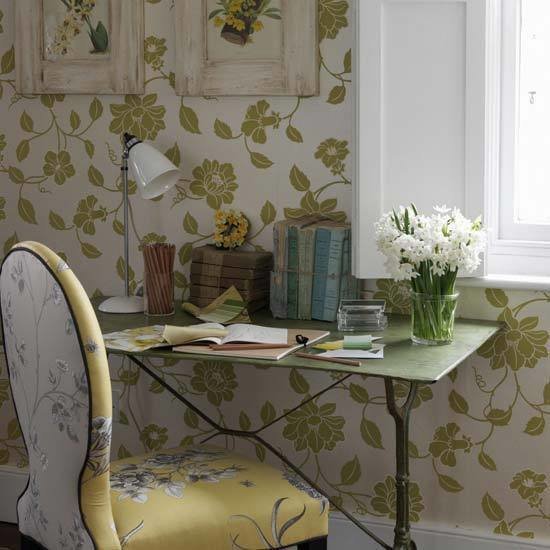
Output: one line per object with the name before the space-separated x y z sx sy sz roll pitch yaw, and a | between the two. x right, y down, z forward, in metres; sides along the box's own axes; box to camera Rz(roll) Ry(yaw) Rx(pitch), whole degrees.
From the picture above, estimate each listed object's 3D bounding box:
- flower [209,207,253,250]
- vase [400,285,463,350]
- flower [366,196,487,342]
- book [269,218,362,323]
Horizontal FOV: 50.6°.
flower | -0.133 -0.145 1.839 0.133 0.137 0.058 0 -4 9
vase | 0.354 0.109 1.341 0.108 0.126 0.121 0 -1 0
flower | 0.326 -0.027 1.474 0.292 0.388 0.311 -5 8 -18
book | 0.141 -0.027 1.642 0.246 0.349 0.253 1 6 12
